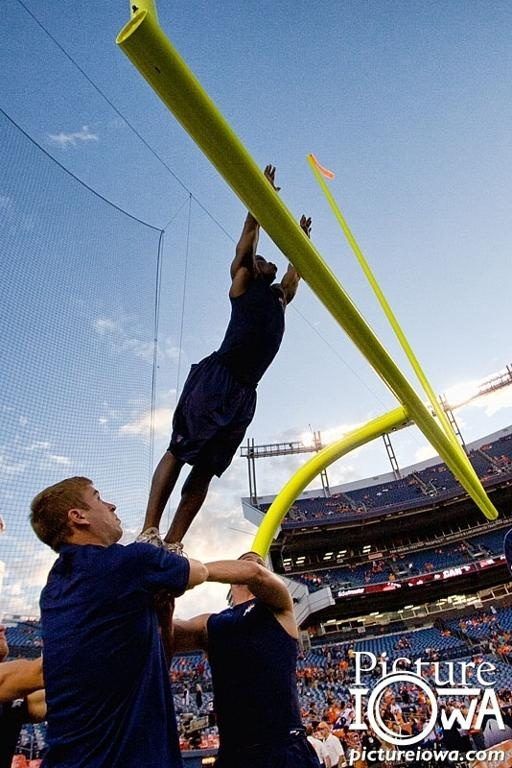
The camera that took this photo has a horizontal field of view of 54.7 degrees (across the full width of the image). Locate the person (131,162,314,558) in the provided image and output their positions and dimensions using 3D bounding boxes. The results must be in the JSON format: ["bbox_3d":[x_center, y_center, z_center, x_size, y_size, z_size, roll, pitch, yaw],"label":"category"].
[{"bbox_3d":[-0.149,0.001,2.530,0.729,1.491,0.631,-5,-15,5],"label":"person"}]
